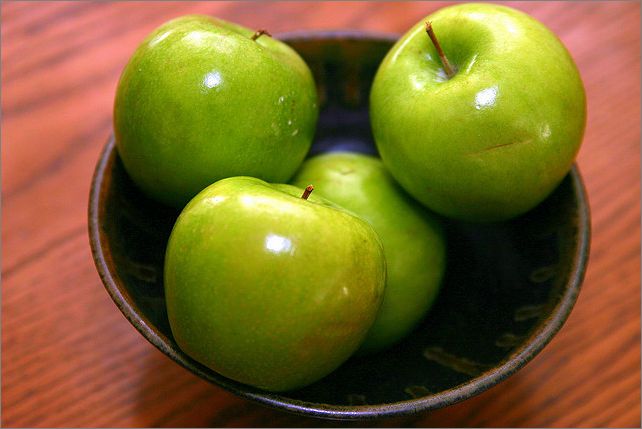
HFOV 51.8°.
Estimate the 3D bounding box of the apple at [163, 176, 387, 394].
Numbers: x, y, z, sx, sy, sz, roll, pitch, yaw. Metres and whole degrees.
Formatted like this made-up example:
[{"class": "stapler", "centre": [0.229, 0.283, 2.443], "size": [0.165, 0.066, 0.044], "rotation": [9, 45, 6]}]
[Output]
[{"class": "apple", "centre": [-0.065, 0.091, 0.831], "size": [0.270, 0.145, 0.236], "rotation": [21, 63, 10]}]
